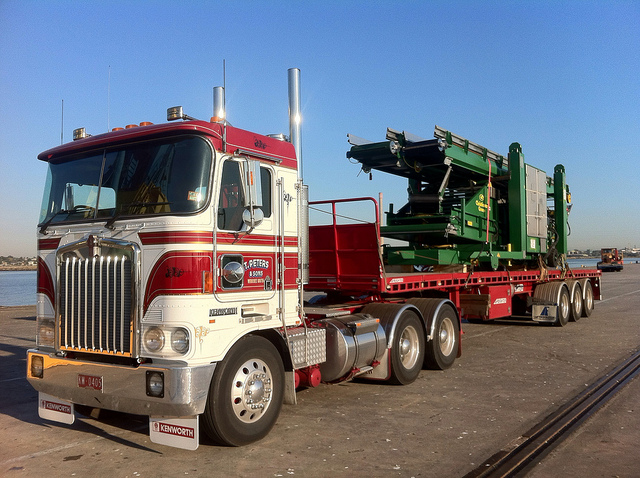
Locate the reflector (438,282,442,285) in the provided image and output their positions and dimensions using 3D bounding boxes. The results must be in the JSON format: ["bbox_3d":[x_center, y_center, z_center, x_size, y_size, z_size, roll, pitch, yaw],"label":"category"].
[{"bbox_3d":[2.360,0.886,10.546,0.031,0.045,0.060,1,3,44],"label":"reflector"}]

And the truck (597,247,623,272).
[{"bbox_3d":[32.430,2.522,59.642,2.257,3.061,4.702,-3,-7,33],"label":"truck"}]

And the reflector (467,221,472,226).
[{"bbox_3d":[3.560,-0.355,12.658,0.091,0.101,0.024,0,4,-24],"label":"reflector"}]

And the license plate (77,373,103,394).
[{"bbox_3d":[-2.714,1.702,6.289,0.432,0.245,0.027,-1,0,29],"label":"license plate"}]

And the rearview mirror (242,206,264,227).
[{"bbox_3d":[-0.826,-0.270,6.441,0.206,0.241,0.051,4,2,-18],"label":"rearview mirror"}]

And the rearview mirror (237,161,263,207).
[{"bbox_3d":[-0.909,-0.652,6.495,0.180,0.514,0.266,-1,-3,-14],"label":"rearview mirror"}]

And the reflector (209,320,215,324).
[{"bbox_3d":[-1.255,0.961,6.166,0.052,0.039,0.013,-1,-6,-3],"label":"reflector"}]

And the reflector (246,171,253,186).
[{"bbox_3d":[-0.847,-0.732,6.396,0.075,0.161,0.015,-1,0,-22],"label":"reflector"}]

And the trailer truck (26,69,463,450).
[{"bbox_3d":[-2.554,0.588,8.815,3.891,5.146,6.433,-1,-2,36],"label":"trailer truck"}]

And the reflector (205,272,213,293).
[{"bbox_3d":[-1.291,0.506,6.186,0.014,0.239,0.108,0,0,44],"label":"reflector"}]
